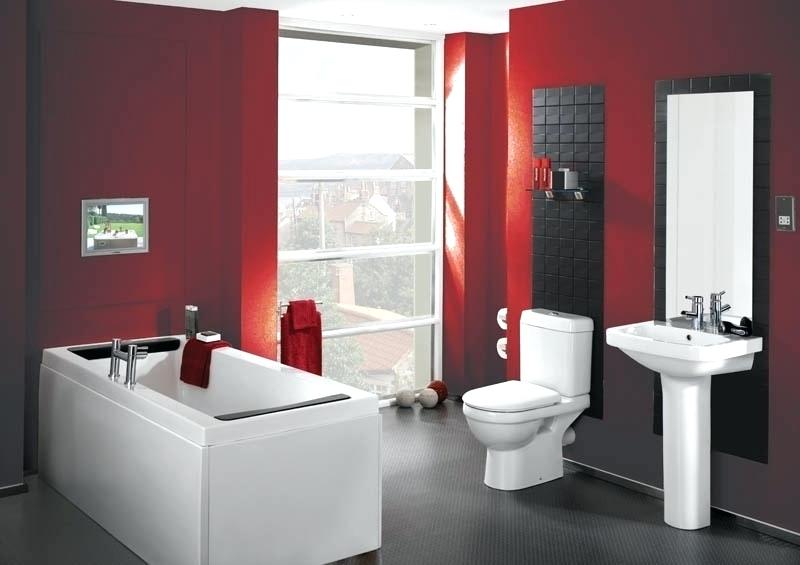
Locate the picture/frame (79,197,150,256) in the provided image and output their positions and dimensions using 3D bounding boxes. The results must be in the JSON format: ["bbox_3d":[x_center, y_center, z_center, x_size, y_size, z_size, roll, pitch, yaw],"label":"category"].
[{"bbox_3d":[-1.994,-0.394,4.248,0.372,0.336,0.028,-6,11,-40],"label":"picture/frame"}]

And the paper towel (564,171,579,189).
[{"bbox_3d":[1.125,-0.678,4.062,0.063,0.123,0.118,2,4,43],"label":"paper towel"}]

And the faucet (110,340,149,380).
[{"bbox_3d":[-1.641,0.479,3.724,0.186,0.260,0.289,-2,7,-35],"label":"faucet"}]

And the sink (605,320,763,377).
[{"bbox_3d":[1.579,0.365,3.307,0.368,0.179,0.482,-2,4,-34],"label":"sink"}]

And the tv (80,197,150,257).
[{"bbox_3d":[-1.992,-0.393,4.249,0.380,0.343,0.028,-6,11,-40],"label":"tv"}]

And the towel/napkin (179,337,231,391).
[{"bbox_3d":[-1.342,0.550,4.247,0.288,0.290,0.254,10,5,41],"label":"towel/napkin"}]

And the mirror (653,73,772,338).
[{"bbox_3d":[1.779,-0.467,3.565,0.683,1.417,0.221,6,11,32],"label":"mirror"}]
